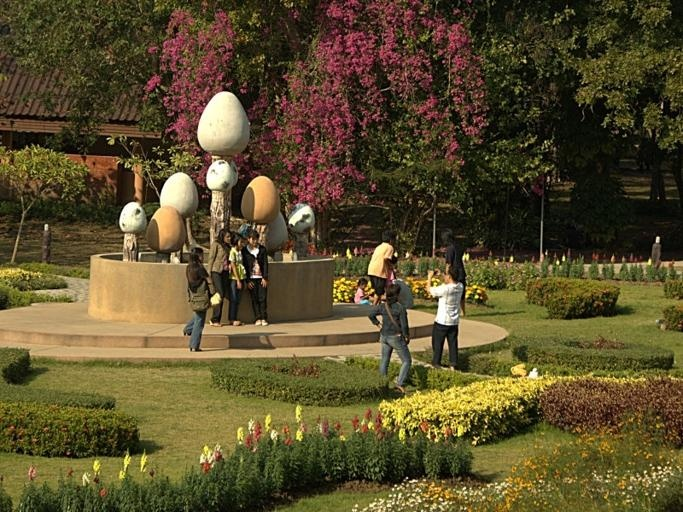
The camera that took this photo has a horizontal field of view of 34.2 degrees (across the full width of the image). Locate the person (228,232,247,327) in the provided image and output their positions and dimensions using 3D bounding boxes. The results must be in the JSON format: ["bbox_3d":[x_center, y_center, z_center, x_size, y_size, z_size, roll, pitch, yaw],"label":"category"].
[{"bbox_3d":[-2.155,0.497,22.804,0.354,1.861,0.755,2,-3,-6],"label":"person"}]

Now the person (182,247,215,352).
[{"bbox_3d":[-2.707,0.844,21.185,0.512,1.977,0.764,2,-3,-11],"label":"person"}]

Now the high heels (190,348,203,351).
[{"bbox_3d":[-2.790,1.808,21.332,0.190,0.086,0.069,0,3,3],"label":"high heels"}]

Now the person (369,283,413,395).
[{"bbox_3d":[0.879,1.452,19.513,0.556,1.870,0.691,3,-3,-32],"label":"person"}]

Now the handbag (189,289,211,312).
[{"bbox_3d":[-2.672,0.839,21.012,0.463,0.683,0.367,-1,-3,-10],"label":"handbag"}]

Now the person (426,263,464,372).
[{"bbox_3d":[1.905,1.150,20.306,0.547,1.829,0.855,1,-3,4],"label":"person"}]
